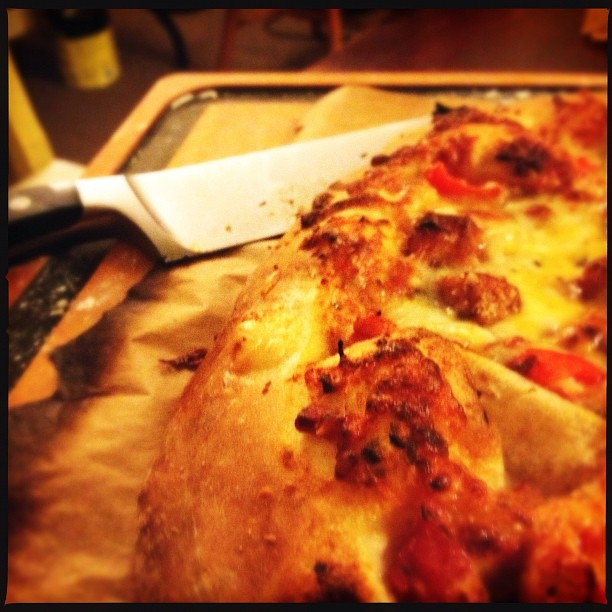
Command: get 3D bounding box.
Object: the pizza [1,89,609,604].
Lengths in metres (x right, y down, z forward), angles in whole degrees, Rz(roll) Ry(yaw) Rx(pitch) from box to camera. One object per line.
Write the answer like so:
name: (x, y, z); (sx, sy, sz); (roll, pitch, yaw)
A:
pizza: (0.014, 0.045, 0.588); (0.512, 0.163, 0.367); (-7, 56, 5)

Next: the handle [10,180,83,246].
handle: (-0.213, -0.078, 0.577); (0.062, 0.025, 0.037); (-17, 55, -1)
